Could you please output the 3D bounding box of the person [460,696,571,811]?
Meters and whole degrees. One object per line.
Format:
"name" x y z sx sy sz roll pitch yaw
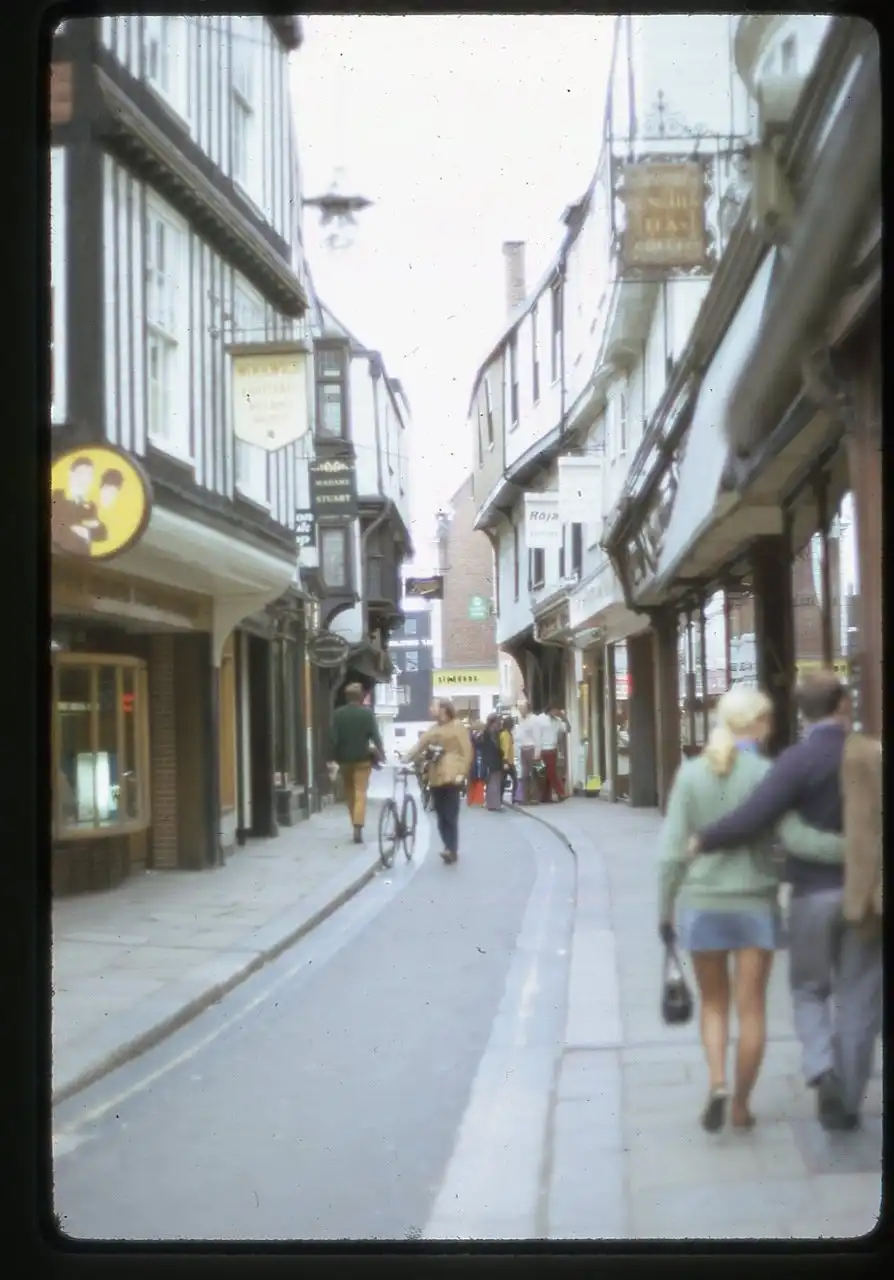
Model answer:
"person" 0.722 1.300 17.373 1.053 1.740 1.001 -5 -8 34

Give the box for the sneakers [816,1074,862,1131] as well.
"sneakers" 0.923 1.094 3.463 0.096 0.153 0.108 -1 -1 18

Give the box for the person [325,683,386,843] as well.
"person" -0.766 1.051 12.606 0.445 1.343 1.286 0 -1 -3

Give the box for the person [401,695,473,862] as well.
"person" -0.032 1.057 10.912 0.428 1.191 0.768 -1 -1 -1
